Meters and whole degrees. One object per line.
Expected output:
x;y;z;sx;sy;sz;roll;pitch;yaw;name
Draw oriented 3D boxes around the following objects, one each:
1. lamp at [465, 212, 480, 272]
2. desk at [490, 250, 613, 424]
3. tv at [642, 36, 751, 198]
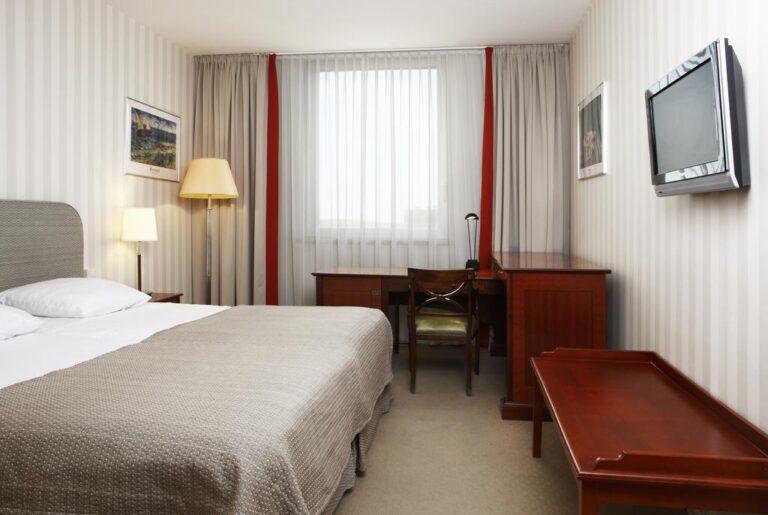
0.790;-0.168;4.781;0.149;0.470;0.506;2;12;10;lamp
1.074;0.595;4.490;0.644;1.038;1.963;2;0;-2;desk
1.586;-0.691;2.622;0.251;0.679;0.760;-7;20;-3;tv
